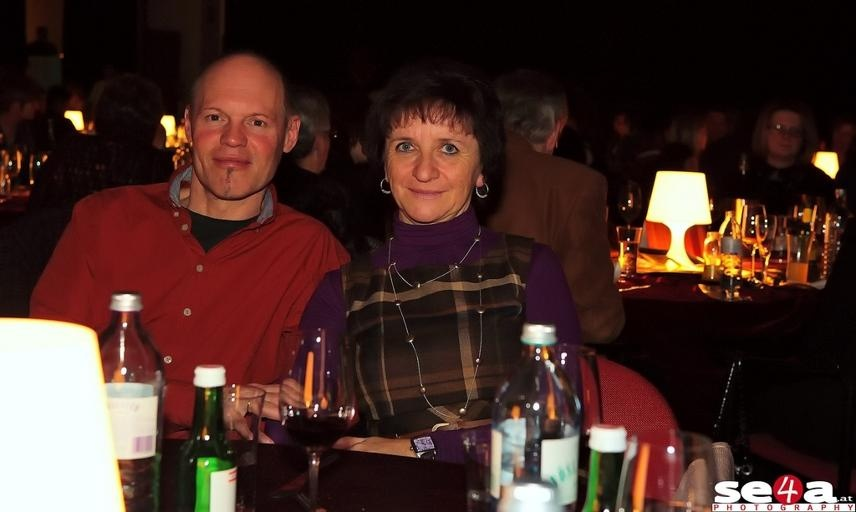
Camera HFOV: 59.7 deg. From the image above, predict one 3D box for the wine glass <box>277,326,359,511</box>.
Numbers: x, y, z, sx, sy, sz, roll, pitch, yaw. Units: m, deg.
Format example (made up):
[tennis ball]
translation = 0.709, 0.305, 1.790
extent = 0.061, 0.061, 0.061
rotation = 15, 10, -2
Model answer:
[wine glass]
translation = -0.302, 0.445, 2.052
extent = 0.199, 0.480, 0.111
rotation = 2, -2, -12
